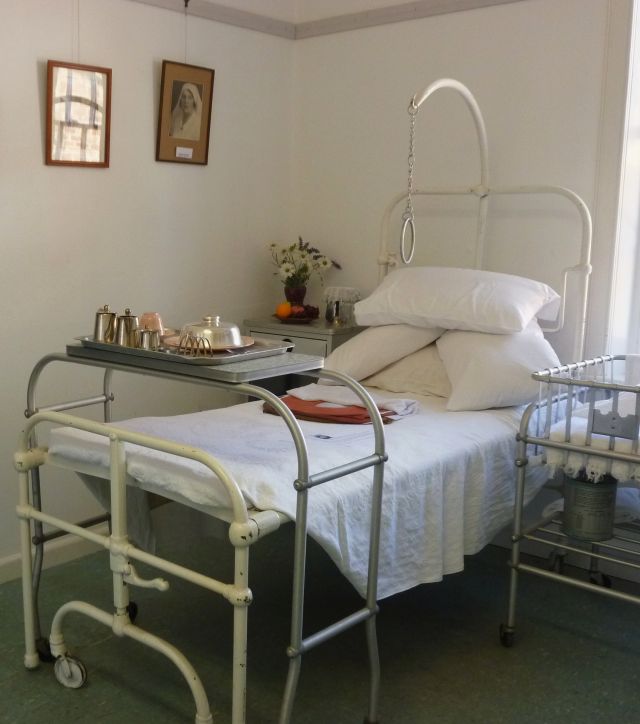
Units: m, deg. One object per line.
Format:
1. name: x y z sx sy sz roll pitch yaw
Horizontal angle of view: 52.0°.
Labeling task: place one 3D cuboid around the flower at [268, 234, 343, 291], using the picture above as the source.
1. flower: -0.097 -0.497 3.538 0.357 0.195 0.330 6 0 -43

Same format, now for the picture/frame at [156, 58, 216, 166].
1. picture/frame: -0.616 -1.146 3.032 0.090 0.461 0.304 5 6 35

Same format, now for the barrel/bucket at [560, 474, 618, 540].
1. barrel/bucket: 0.782 0.421 1.989 0.183 0.182 0.173 0 2 0

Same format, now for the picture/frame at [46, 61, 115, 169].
1. picture/frame: -0.947 -0.982 2.615 0.072 0.412 0.289 5 6 38

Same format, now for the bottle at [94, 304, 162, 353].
1. bottle: -0.463 -0.088 1.662 0.090 0.111 0.250 1 9 -42

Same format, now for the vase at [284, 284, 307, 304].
1. vase: -0.119 -0.356 3.425 0.101 0.077 0.102 2 3 29

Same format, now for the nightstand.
1. nightstand: -0.092 -0.068 3.270 0.508 0.489 0.367 8 8 43

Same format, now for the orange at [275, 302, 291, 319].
1. orange: -0.173 -0.262 3.327 0.075 0.087 0.082 0 10 6

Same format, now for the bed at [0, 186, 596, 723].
1. bed: -0.076 0.324 2.018 0.744 1.146 1.349 7 9 43
